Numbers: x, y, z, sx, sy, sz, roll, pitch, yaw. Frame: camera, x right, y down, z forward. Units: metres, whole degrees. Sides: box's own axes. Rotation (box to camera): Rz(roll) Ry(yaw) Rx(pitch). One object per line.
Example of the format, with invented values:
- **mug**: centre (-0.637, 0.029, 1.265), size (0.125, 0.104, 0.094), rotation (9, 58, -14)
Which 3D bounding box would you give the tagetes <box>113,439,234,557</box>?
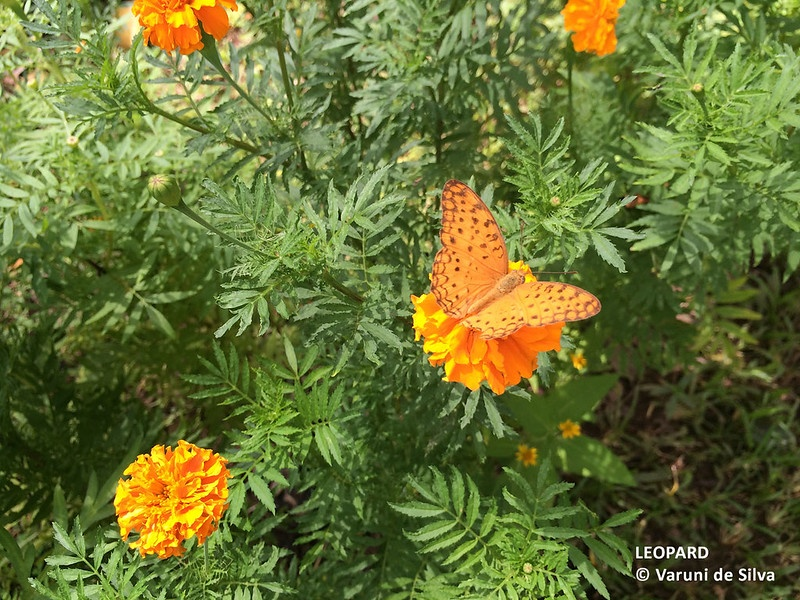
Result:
- **tagetes**: centre (-0.763, 0.623, 2.422), size (0.352, 0.155, 0.380), rotation (-8, 19, 20)
